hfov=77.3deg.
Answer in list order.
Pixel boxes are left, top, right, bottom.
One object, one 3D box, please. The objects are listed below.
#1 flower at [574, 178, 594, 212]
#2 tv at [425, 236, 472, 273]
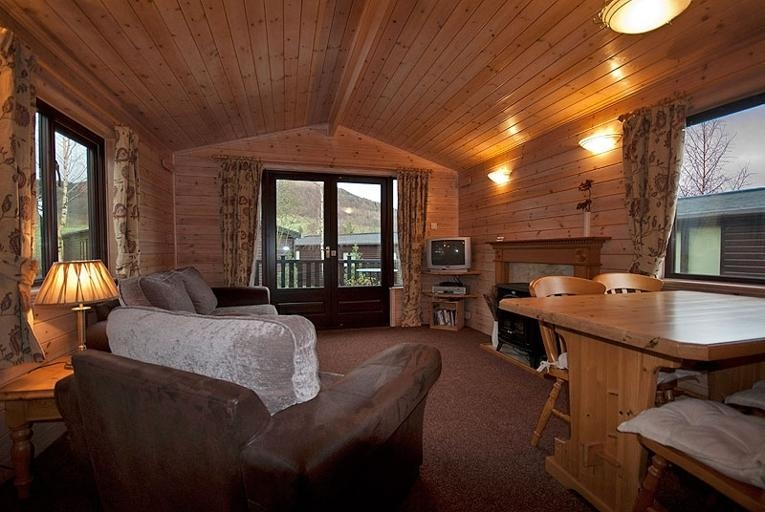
[{"bbox_3d":[1.987,-0.598,4.720,0.159,0.334,0.257,-1,0,22],"label":"flower"},{"bbox_3d":[0.915,-0.021,6.552,0.722,0.540,0.417,0,0,20],"label":"tv"}]
